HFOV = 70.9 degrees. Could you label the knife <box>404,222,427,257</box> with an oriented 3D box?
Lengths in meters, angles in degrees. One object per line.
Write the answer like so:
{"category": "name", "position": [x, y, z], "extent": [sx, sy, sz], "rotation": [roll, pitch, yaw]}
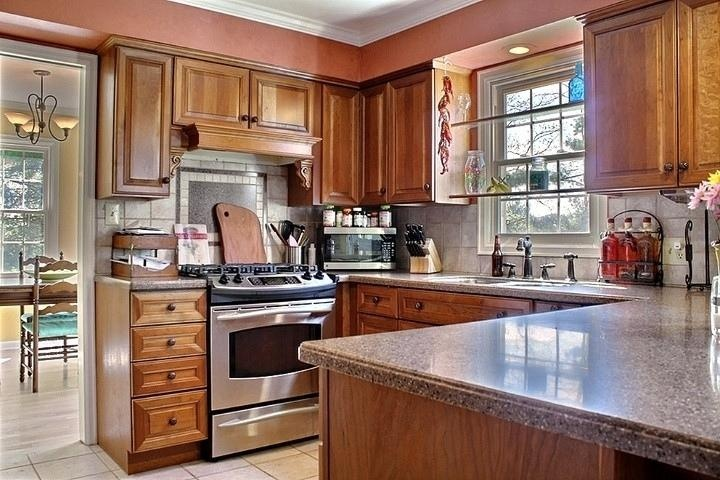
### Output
{"category": "knife", "position": [0.447, -0.008, 4.032], "extent": [0.151, 0.254, 0.070], "rotation": [15, 22, 41]}

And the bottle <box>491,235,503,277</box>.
{"category": "bottle", "position": [1.019, 0.110, 3.786], "extent": [0.090, 0.298, 0.285], "rotation": [-2, 1, 16]}

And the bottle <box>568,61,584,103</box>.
{"category": "bottle", "position": [1.367, -1.005, 3.218], "extent": [0.086, 0.300, 0.249], "rotation": [-2, 1, 23]}

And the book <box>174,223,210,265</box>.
{"category": "book", "position": [-1.297, 0.036, 3.874], "extent": [0.314, 0.398, 0.044], "rotation": [5, -16, -34]}

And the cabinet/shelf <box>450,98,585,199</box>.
{"category": "cabinet/shelf", "position": [1.137, -0.594, 3.592], "extent": [1.029, 0.593, 0.450], "rotation": [-2, 2, 43]}

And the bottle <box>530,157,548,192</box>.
{"category": "bottle", "position": [1.212, -0.446, 3.440], "extent": [0.149, 0.221, 0.140], "rotation": [0, 5, 0]}

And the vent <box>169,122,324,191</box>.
{"category": "vent", "position": [-0.835, -0.672, 3.878], "extent": [1.012, 0.305, 0.314], "rotation": [2, 2, -28]}

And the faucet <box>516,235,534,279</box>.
{"category": "faucet", "position": [1.180, 0.116, 3.629], "extent": [0.103, 0.284, 0.346], "rotation": [-2, 1, 19]}

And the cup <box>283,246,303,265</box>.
{"category": "cup", "position": [-0.555, 0.127, 4.348], "extent": [0.157, 0.155, 0.154], "rotation": [1, 3, 0]}

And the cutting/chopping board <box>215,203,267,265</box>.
{"category": "cutting/chopping board", "position": [-0.949, -0.060, 4.089], "extent": [0.399, 0.421, 0.121], "rotation": [-3, 1, -31]}

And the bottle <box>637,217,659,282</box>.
{"category": "bottle", "position": [1.744, 0.050, 3.061], "extent": [0.120, 0.414, 0.233], "rotation": [-2, 1, 29]}

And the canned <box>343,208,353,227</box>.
{"category": "canned", "position": [-0.107, -0.195, 4.312], "extent": [0.093, 0.115, 0.162], "rotation": [-3, 1, -1]}

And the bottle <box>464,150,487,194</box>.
{"category": "bottle", "position": [0.853, -0.498, 3.712], "extent": [0.182, 0.318, 0.173], "rotation": [-4, 16, 1]}

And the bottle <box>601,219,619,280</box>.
{"category": "bottle", "position": [1.548, 0.057, 3.159], "extent": [0.109, 0.382, 0.180], "rotation": [-2, 1, 25]}

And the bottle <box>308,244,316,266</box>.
{"category": "bottle", "position": [-0.412, 0.116, 4.358], "extent": [0.067, 0.150, 0.166], "rotation": [-3, 1, -6]}

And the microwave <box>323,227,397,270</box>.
{"category": "microwave", "position": [0.041, 0.075, 4.306], "extent": [0.629, 0.356, 0.350], "rotation": [0, -1, 18]}

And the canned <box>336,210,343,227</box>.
{"category": "canned", "position": [-0.176, -0.184, 4.279], "extent": [0.059, 0.102, 0.112], "rotation": [-3, 1, -3]}

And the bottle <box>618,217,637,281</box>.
{"category": "bottle", "position": [1.628, 0.049, 3.090], "extent": [0.101, 0.369, 0.181], "rotation": [-2, 1, 30]}

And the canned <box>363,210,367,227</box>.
{"category": "canned", "position": [0.039, -0.184, 4.330], "extent": [0.051, 0.103, 0.149], "rotation": [-3, 1, 1]}
